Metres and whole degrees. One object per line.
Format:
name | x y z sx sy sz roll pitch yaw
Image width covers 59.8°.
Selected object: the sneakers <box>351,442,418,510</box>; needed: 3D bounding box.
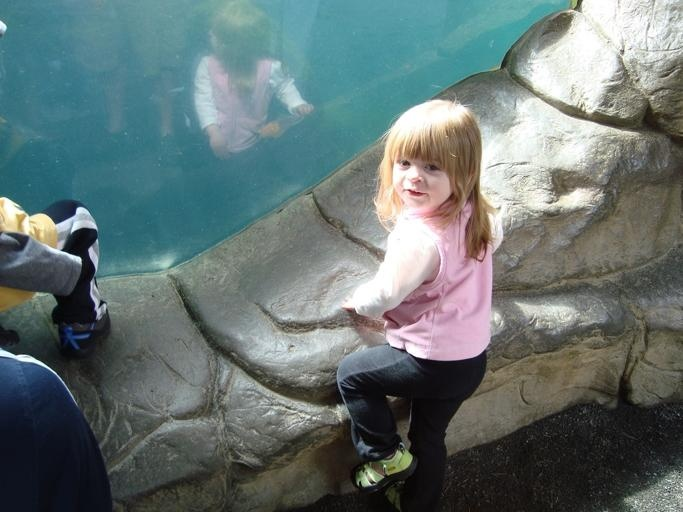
sneakers | 0.179 0.879 2.458 0.387 0.206 0.173 -23 27 54
